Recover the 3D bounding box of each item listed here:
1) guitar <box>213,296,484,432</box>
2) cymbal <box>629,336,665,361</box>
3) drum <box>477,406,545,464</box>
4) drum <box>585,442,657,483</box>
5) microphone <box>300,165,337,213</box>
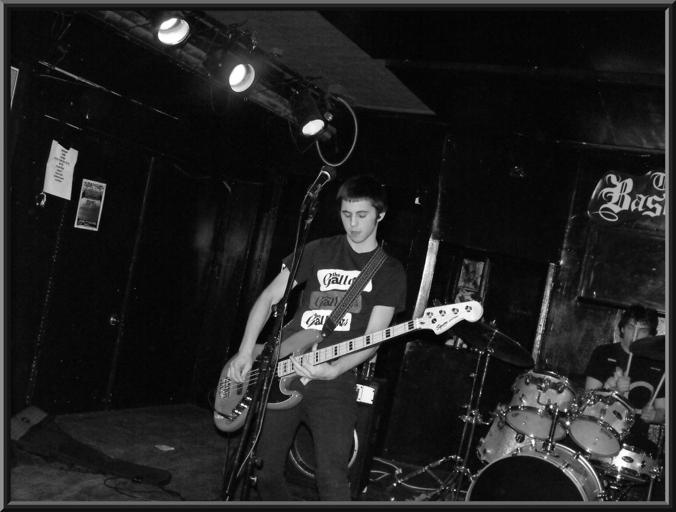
[{"bbox_3d":[-0.081,0.593,2.873,1.418,0.706,0.531,7,-3,27],"label":"guitar"},{"bbox_3d":[2.154,0.633,3.775,0.196,0.051,0.201,-5,-43,28],"label":"cymbal"},{"bbox_3d":[1.092,1.205,3.699,0.367,0.365,0.369,35,-15,2],"label":"drum"},{"bbox_3d":[1.828,1.315,3.431,0.271,0.109,0.279,23,-11,5],"label":"drum"},{"bbox_3d":[-0.106,-0.343,2.773,0.133,0.231,0.258,8,-3,-6],"label":"microphone"}]
